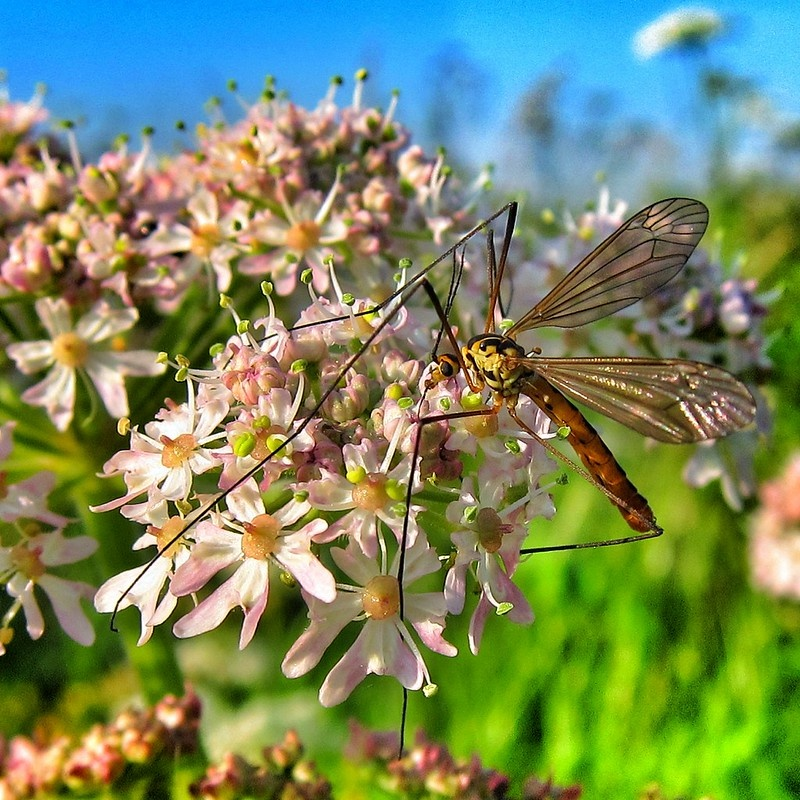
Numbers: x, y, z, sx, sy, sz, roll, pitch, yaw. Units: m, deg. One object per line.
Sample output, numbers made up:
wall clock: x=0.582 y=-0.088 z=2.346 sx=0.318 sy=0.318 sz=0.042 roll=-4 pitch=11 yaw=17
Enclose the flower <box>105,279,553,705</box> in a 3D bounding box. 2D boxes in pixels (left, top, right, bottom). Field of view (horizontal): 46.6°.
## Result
flower: x=-0.042 y=0.228 z=1.796 sx=0.597 sy=0.523 sz=0.198 roll=-60 pitch=-10 yaw=-21
